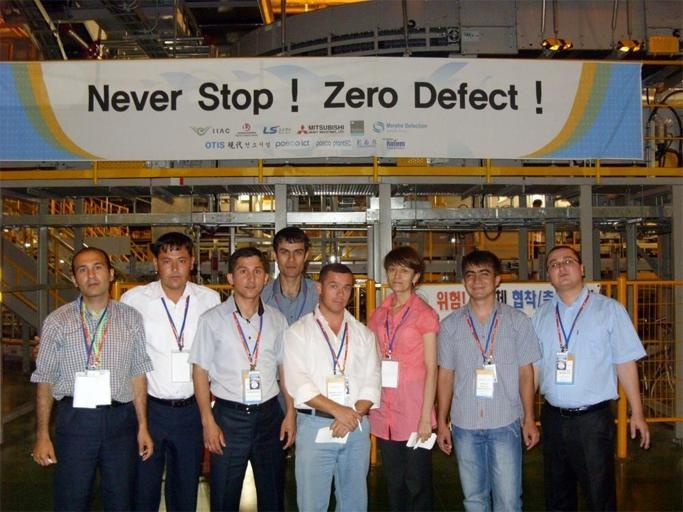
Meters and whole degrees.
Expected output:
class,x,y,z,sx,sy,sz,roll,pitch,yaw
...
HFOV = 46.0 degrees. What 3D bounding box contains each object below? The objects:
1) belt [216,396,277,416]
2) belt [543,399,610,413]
class,x,y,z,sx,sy,sz,roll,pitch,yaw
belt,-1.030,1.628,8.726,0.734,0.179,0.169,-1,-3,-9
belt,2.568,1.661,8.793,0.715,0.154,0.163,-2,-3,14
